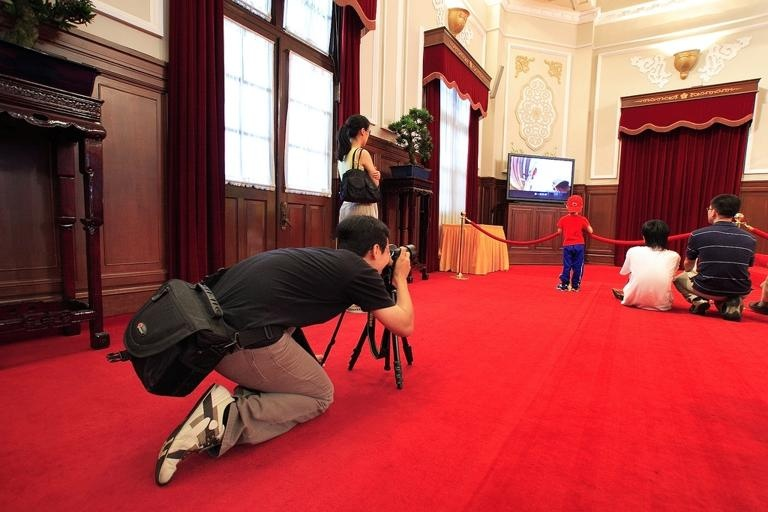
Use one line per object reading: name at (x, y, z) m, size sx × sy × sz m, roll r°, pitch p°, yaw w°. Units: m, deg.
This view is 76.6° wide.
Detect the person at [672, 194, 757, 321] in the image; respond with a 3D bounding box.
person at (3.423, 0.017, 4.980) m, size 0.650 × 1.248 × 0.417 m, roll 9°, pitch 14°, yaw 32°

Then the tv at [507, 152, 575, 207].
tv at (2.985, -1.406, 9.331) m, size 1.150 × 0.922 × 0.091 m, roll 2°, pitch 0°, yaw -12°

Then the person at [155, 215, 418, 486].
person at (-0.586, 0.438, 3.238) m, size 1.053 × 1.152 × 1.749 m, roll 34°, pitch 31°, yaw 34°

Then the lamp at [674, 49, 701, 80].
lamp at (5.646, -3.548, 9.125) m, size 0.461 × 0.512 × 0.457 m, roll 5°, pitch 21°, yaw 29°

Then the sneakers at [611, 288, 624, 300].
sneakers at (2.802, 0.479, 5.813) m, size 0.151 × 0.082 × 0.227 m, roll 8°, pitch -7°, yaw 9°

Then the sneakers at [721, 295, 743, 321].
sneakers at (3.514, 0.555, 4.886) m, size 0.115 × 0.158 × 0.340 m, roll 0°, pitch 9°, yaw 33°

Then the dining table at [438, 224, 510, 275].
dining table at (1.494, -0.073, 7.841) m, size 1.181 × 0.797 × 0.724 m, roll -3°, pitch 13°, yaw -21°

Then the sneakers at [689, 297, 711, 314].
sneakers at (3.297, 0.537, 5.052) m, size 0.097 × 0.120 × 0.242 m, roll 0°, pitch 4°, yaw 18°

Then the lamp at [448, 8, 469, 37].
lamp at (1.223, -3.828, 8.009) m, size 0.292 × 0.393 × 0.269 m, roll 6°, pitch 13°, yaw 22°
